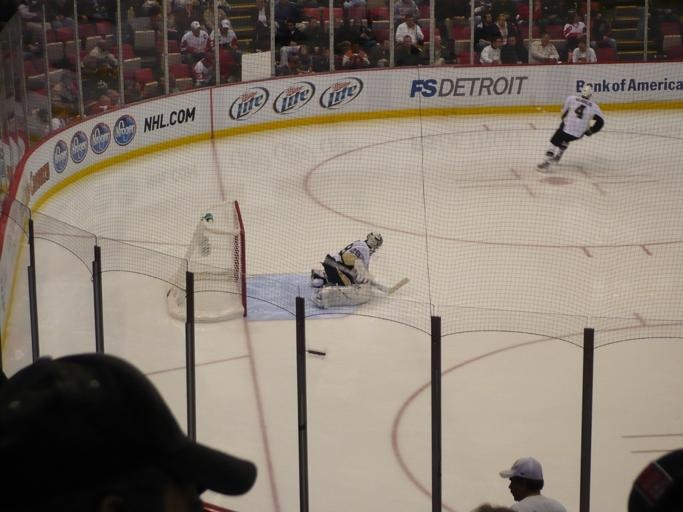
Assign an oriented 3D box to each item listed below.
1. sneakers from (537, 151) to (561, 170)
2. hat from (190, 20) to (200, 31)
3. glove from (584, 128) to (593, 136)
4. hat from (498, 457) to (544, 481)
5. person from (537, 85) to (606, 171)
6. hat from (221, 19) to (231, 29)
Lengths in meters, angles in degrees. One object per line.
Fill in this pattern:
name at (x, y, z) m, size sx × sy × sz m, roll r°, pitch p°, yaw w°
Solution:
sneakers at (2.682, -1.228, 13.309) m, size 0.281 × 0.251 × 0.269 m, roll -1°, pitch 13°, yaw -5°
hat at (-2.022, -3.217, 14.378) m, size 0.112 × 0.110 × 0.129 m, roll -1°, pitch 13°, yaw -8°
glove at (3.228, -1.624, 13.385) m, size 0.110 × 0.108 × 0.240 m, roll 4°, pitch 13°, yaw 13°
hat at (1.307, 1.505, 7.340) m, size 0.244 × 0.130 × 0.163 m, roll 6°, pitch 4°, yaw 17°
person at (3.085, -1.706, 13.571) m, size 0.739 × 1.044 × 1.226 m, roll 5°, pitch 13°, yaw 19°
hat at (-1.589, -3.231, 14.333) m, size 0.101 × 0.069 × 0.132 m, roll -3°, pitch 44°, yaw -9°
